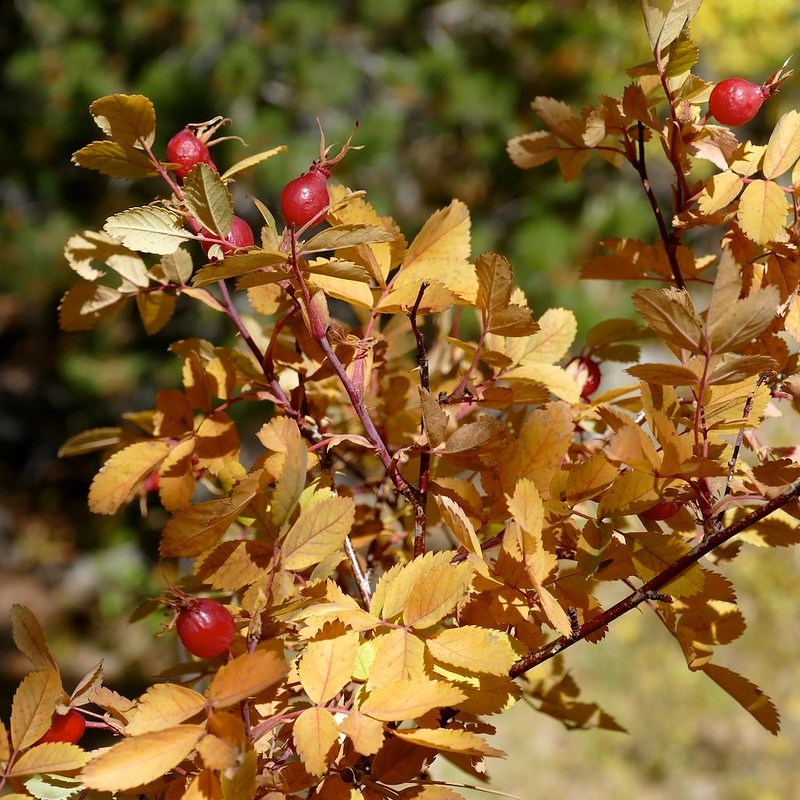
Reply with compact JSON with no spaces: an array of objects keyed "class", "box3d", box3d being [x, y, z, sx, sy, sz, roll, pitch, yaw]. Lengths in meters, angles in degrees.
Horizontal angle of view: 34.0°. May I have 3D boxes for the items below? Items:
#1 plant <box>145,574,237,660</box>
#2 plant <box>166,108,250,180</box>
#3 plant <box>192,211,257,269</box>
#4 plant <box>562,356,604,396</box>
[{"class":"plant","box3d":[-0.230,0.253,1.538,0.072,0.058,0.084,15,89,-23]},{"class":"plant","box3d":[-0.259,-0.325,1.632,0.093,0.088,0.068,-35,88,-16]},{"class":"plant","box3d":[-0.206,-0.198,1.607,0.082,0.062,0.037,26,37,2]},{"class":"plant","box3d":[0.255,-0.032,1.783,0.061,0.019,0.052,1,84,-7]}]
